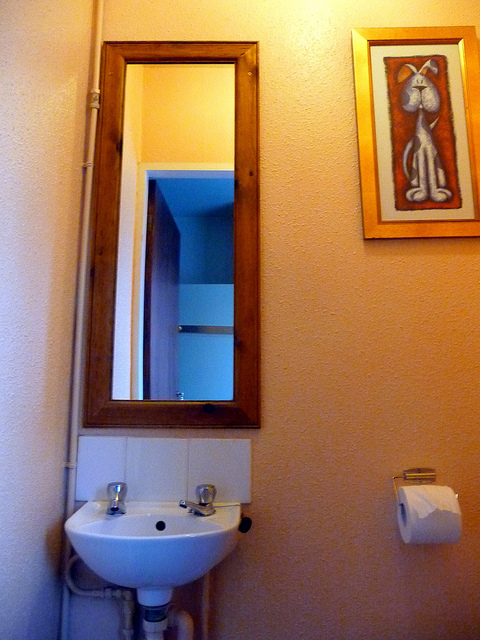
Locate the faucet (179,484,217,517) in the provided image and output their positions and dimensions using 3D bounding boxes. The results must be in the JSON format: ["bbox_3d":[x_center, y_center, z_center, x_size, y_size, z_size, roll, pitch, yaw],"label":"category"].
[{"bbox_3d":[-0.091,0.427,1.280,0.047,0.062,0.096,-6,-15,27],"label":"faucet"}]

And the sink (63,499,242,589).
[{"bbox_3d":[-0.215,0.534,1.326,0.465,0.146,0.506,-2,-11,7],"label":"sink"}]

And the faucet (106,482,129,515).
[{"bbox_3d":[-0.284,0.412,1.299,0.031,0.087,0.060,-1,2,-8],"label":"faucet"}]

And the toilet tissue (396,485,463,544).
[{"bbox_3d":[0.450,0.462,1.309,0.146,0.126,0.118,1,-6,-18],"label":"toilet tissue"}]
